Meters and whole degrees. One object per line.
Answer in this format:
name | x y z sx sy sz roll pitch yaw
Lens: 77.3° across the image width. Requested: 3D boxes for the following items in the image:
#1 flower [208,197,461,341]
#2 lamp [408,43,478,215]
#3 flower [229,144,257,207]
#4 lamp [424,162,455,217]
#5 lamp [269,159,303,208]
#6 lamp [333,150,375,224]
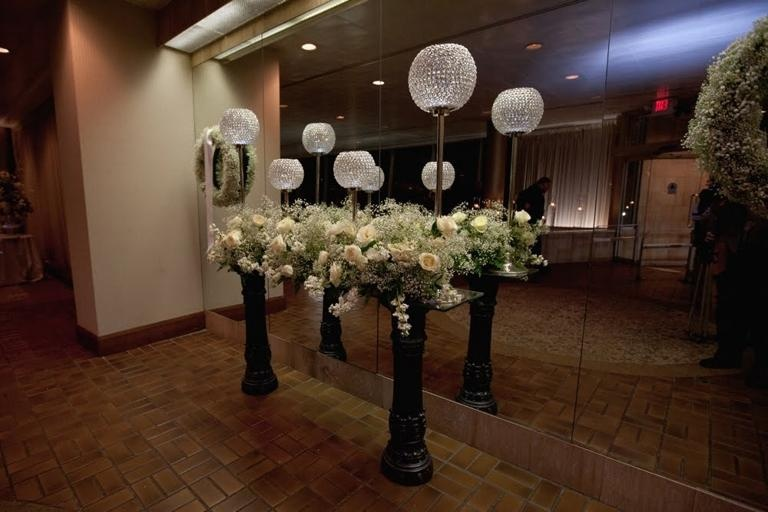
flower | -0.224 0.012 3.696 2.045 1.149 0.970 5 -8 16
lamp | 0.427 -0.872 3.375 0.404 1.141 0.475 6 12 27
flower | -1.353 -0.786 4.724 0.186 0.515 0.427 2 2 -6
lamp | 0.418 -0.511 3.779 0.258 0.417 0.281 3 2 19
lamp | -0.946 -0.627 4.581 0.353 0.540 0.356 -3 5 1
lamp | -0.243 -0.474 3.751 0.371 0.611 0.354 -3 3 8
